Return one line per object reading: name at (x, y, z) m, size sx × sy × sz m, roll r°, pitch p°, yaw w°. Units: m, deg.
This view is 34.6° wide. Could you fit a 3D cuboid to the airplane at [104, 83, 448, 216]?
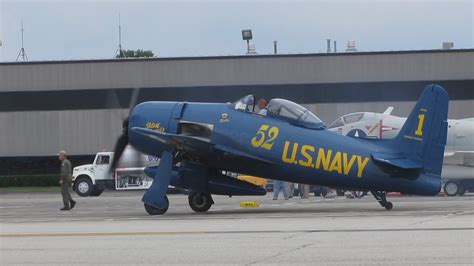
airplane at (2.913, 0.992, 49.001) m, size 19.616 × 8.475 × 1.760 m, roll 2°, pitch 3°, yaw 3°
